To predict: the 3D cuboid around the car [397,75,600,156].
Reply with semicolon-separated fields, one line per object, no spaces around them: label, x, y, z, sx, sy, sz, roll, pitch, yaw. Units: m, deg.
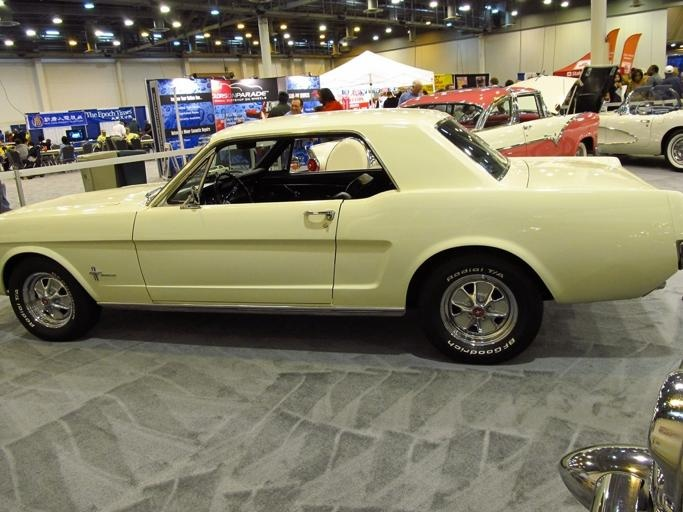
car;3.123;-2.464;7.852;3.409;0.942;1.667;-6;25;0
